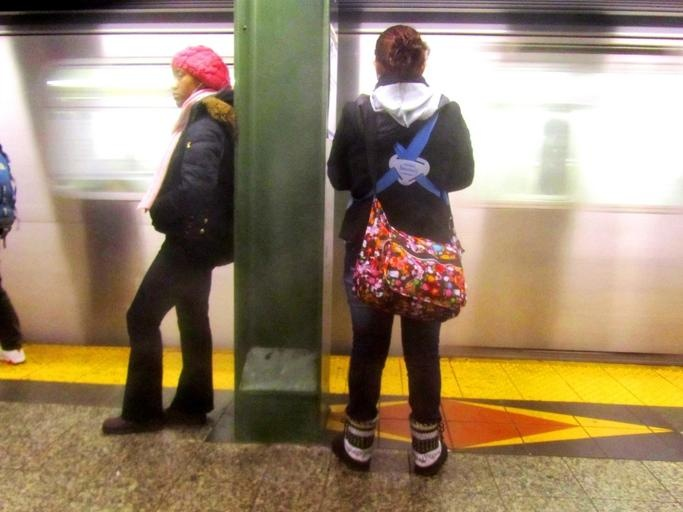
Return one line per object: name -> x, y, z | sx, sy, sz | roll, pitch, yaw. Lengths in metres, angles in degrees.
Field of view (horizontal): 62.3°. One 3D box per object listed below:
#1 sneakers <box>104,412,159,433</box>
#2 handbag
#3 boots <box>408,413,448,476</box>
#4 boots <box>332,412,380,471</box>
sneakers -> -1.373, 1.094, 3.697 | 0.329, 0.132, 0.132 | 4, -5, -7
handbag -> 0.347, 0.010, 2.973 | 0.547, 0.530, 0.277 | 14, -15, -4
boots -> 0.542, 1.092, 3.402 | 0.170, 0.306, 0.453 | 0, 6, 22
boots -> 0.060, 1.056, 3.347 | 0.192, 0.342, 0.356 | 1, 24, -13
